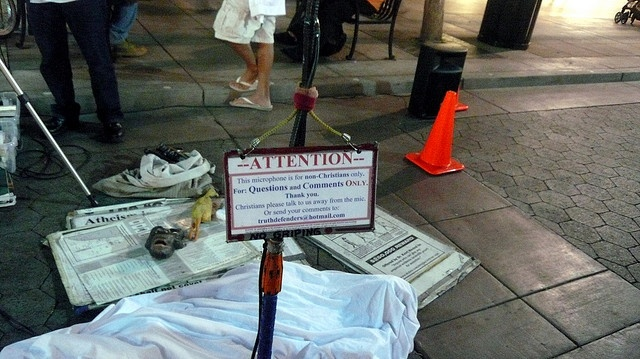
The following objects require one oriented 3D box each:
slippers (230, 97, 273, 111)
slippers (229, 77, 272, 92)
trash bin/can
[{"bbox_3d":[-1.034,-1.153,7.508,0.649,0.118,0.225,7,14,-3],"label":"slippers"},{"bbox_3d":[-1.133,-1.514,7.807,0.584,0.122,0.267,-11,35,-24],"label":"slippers"},{"bbox_3d":[1.864,-1.587,8.002,0.964,1.141,0.831,1,2,-29],"label":"trash bin/can"}]
